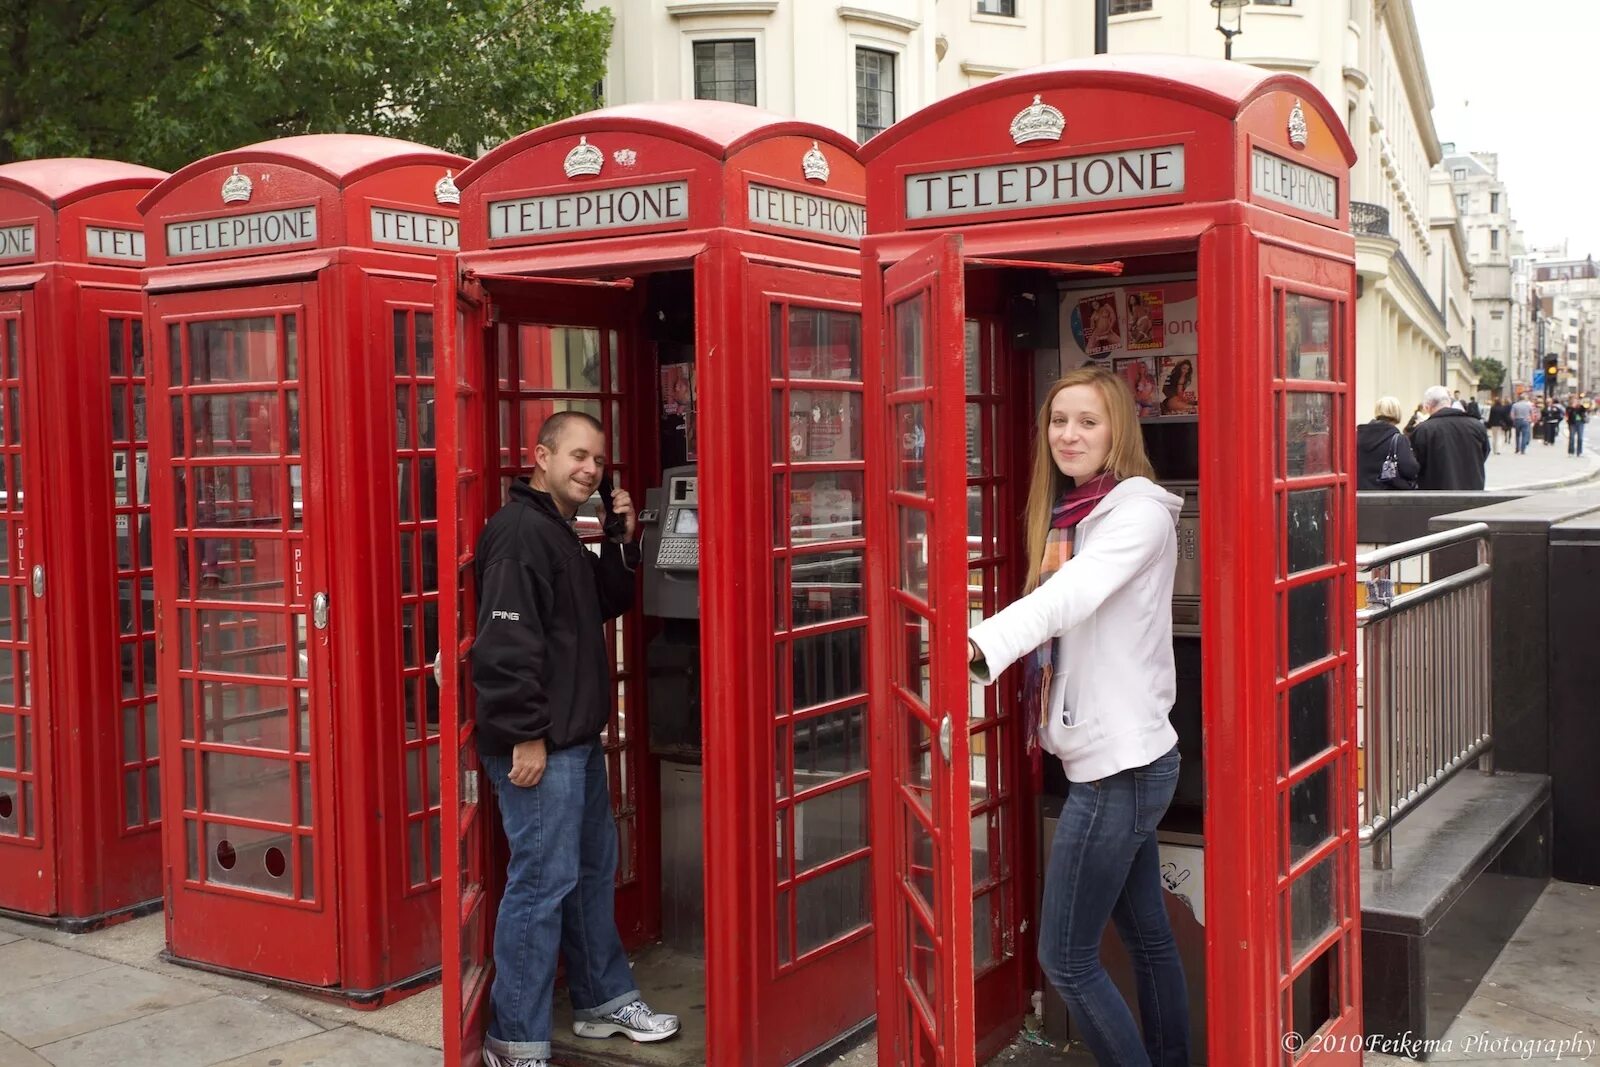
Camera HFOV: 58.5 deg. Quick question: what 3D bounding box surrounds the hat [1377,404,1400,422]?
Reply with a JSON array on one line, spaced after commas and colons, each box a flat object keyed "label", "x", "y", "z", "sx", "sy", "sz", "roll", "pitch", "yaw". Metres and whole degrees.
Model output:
[{"label": "hat", "x": 5.436, "y": -1.138, "z": 13.154, "sx": 0.138, "sy": 0.197, "sz": 0.195, "roll": 1, "pitch": 39, "yaw": 14}]

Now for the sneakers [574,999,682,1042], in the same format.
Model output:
[{"label": "sneakers", "x": -0.720, "y": 2.058, "z": 5.978, "sx": 0.405, "sy": 0.216, "sz": 0.174, "roll": -1, "pitch": -2, "yaw": 7}]

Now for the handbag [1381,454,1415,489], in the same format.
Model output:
[{"label": "handbag", "x": 5.459, "y": -0.573, "z": 13.023, "sx": 0.283, "sy": 0.308, "sz": 0.162, "roll": 0, "pitch": 4, "yaw": -13}]
